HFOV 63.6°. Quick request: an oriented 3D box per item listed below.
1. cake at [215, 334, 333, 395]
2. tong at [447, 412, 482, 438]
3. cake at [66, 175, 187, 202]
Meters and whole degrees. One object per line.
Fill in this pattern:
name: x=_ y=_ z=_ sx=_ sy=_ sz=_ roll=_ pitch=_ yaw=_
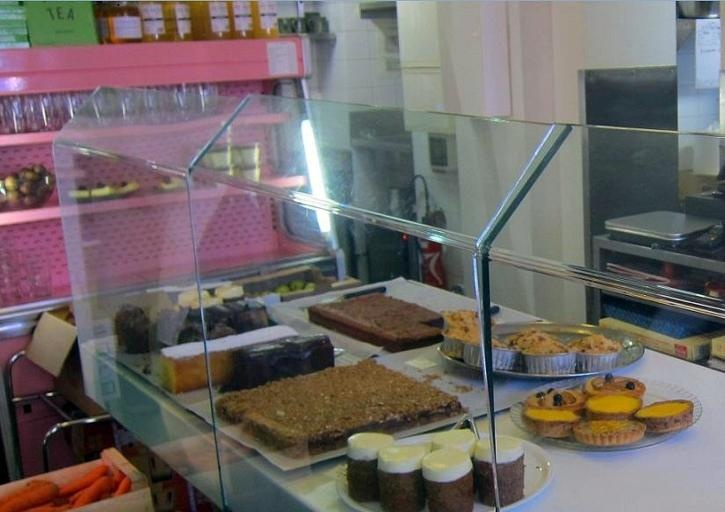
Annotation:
cake: x=-0.151 y=0.194 z=1.044 sx=0.149 sy=0.083 sz=0.178 roll=-15 pitch=16 yaw=-39
tong: x=0.153 y=0.244 z=0.850 sx=0.038 sy=0.036 sz=0.010 roll=12 pitch=26 yaw=26
cake: x=-0.607 y=-0.174 z=1.508 sx=0.304 sy=0.051 sz=0.272 roll=8 pitch=16 yaw=40
